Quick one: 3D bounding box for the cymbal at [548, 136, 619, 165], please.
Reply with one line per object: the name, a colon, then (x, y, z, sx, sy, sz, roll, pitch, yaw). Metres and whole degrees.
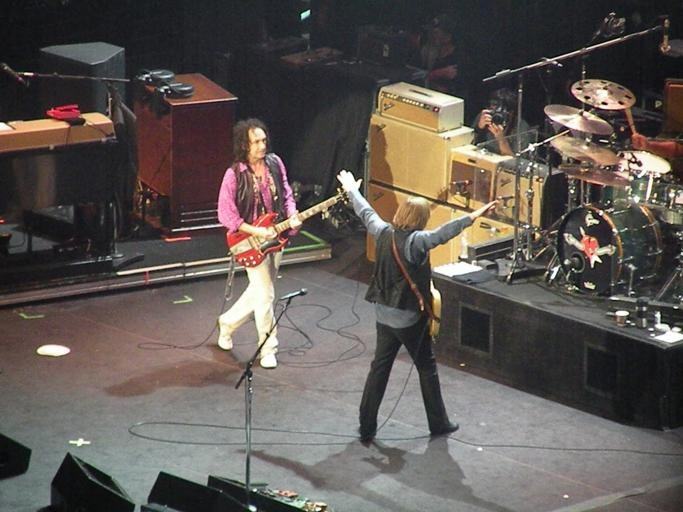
cymbal: (2.062, -0.897, 7.897, 0.564, 0.215, 0.399, 9, 15, 24)

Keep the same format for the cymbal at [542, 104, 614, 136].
cymbal: (2.055, -1.170, 7.929, 0.390, 0.074, 0.371, -6, 40, -32)

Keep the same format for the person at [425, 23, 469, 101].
person: (1.229, -2.375, 10.976, 0.246, 0.904, 0.698, -9, 18, -41)

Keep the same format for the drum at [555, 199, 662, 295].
drum: (2.288, -0.077, 8.064, 0.574, 0.735, 0.764, -6, 10, -34)

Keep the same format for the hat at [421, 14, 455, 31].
hat: (1.166, -2.802, 11.068, 0.277, 0.085, 0.381, 0, 11, 16)

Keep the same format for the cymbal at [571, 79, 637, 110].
cymbal: (2.256, -1.410, 8.076, 0.523, 0.244, 0.360, 6, 14, 14)

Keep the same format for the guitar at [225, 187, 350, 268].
guitar: (-0.498, -0.218, 7.827, 0.994, 0.659, 0.352, 10, 15, 26)

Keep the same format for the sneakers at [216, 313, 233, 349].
sneakers: (-1.052, 0.695, 8.398, 0.124, 0.225, 0.333, -4, 26, -14)

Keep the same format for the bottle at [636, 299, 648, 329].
bottle: (2.399, 0.440, 7.433, 0.105, 0.222, 0.200, 7, 14, 17)

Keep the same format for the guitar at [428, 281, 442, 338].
guitar: (0.697, 0.349, 6.784, 0.100, 0.343, 0.089, -13, 36, -9)

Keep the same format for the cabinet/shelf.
cabinet/shelf: (-1.681, -1.069, 10.134, 1.022, 1.645, 1.313, -7, 28, -30)

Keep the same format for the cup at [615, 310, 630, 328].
cup: (2.229, 0.494, 7.453, 0.119, 0.093, 0.111, -3, 26, 2)
